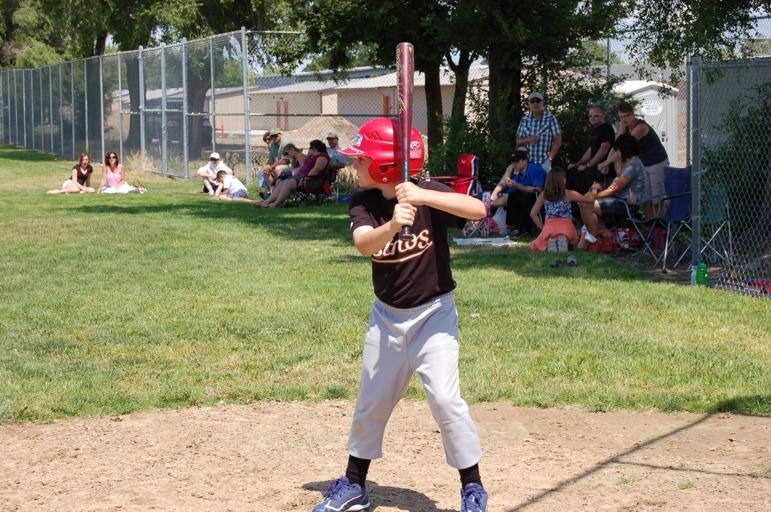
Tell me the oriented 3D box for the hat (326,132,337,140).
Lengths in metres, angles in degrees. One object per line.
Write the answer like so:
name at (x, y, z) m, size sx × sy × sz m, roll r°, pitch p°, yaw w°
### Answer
hat at (-1.159, -2.735, 21.876) m, size 0.232 × 0.165 × 0.332 m, roll 2°, pitch 3°, yaw 22°

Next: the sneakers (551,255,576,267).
sneakers at (2.603, 0.054, 13.889) m, size 0.204 × 0.152 × 0.481 m, roll -36°, pitch -18°, yaw 26°

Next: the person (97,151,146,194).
person at (-6.412, -2.041, 23.159) m, size 1.126 × 0.999 × 1.011 m, roll 0°, pitch 10°, yaw -1°

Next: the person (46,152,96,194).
person at (-7.309, -1.932, 22.921) m, size 0.856 × 1.001 × 1.114 m, roll 15°, pitch 18°, yaw 16°

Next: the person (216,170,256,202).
person at (-3.577, -1.580, 22.103) m, size 1.075 × 0.491 × 0.643 m, roll 21°, pitch 12°, yaw 26°

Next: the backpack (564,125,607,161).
backpack at (3.737, -2.157, 18.565) m, size 0.285 × 0.751 × 0.583 m, roll 28°, pitch -12°, yaw -37°

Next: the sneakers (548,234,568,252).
sneakers at (2.672, -0.188, 14.818) m, size 0.190 × 0.314 × 0.101 m, roll 3°, pitch 4°, yaw 21°

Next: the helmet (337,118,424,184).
helmet at (-0.015, -0.873, 8.038) m, size 0.644 × 0.454 × 0.474 m, roll 2°, pitch 6°, yaw -1°

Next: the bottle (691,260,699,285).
bottle at (4.175, 0.240, 12.939) m, size 0.088 × 0.275 × 0.231 m, roll 4°, pitch 11°, yaw 18°

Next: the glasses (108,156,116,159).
glasses at (-6.487, -2.332, 22.783) m, size 0.135 × 0.080 × 0.111 m, roll 0°, pitch 10°, yaw -5°

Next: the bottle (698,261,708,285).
bottle at (4.287, 0.229, 12.945) m, size 0.149 × 0.267 × 0.279 m, roll 4°, pitch 11°, yaw 18°
